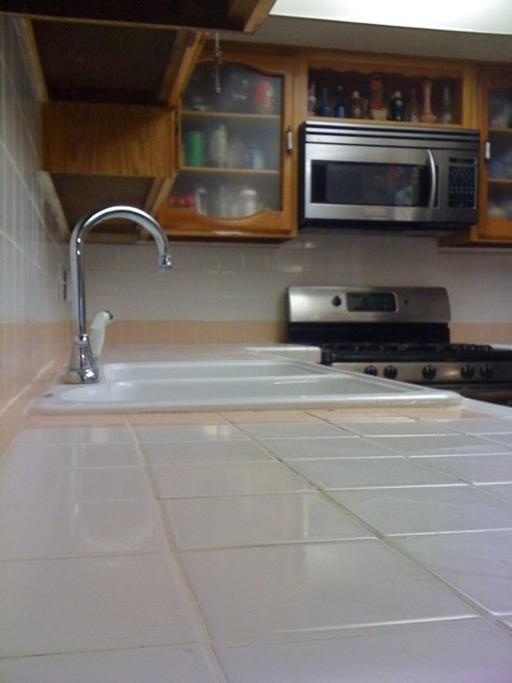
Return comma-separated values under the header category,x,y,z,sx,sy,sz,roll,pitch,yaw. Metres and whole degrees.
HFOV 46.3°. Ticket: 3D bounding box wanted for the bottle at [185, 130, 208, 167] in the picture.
category,x,y,z,sx,sy,sz,roll,pitch,yaw
bottle,-0.236,-0.745,2.318,0.083,0.140,0.022,0,1,-7
